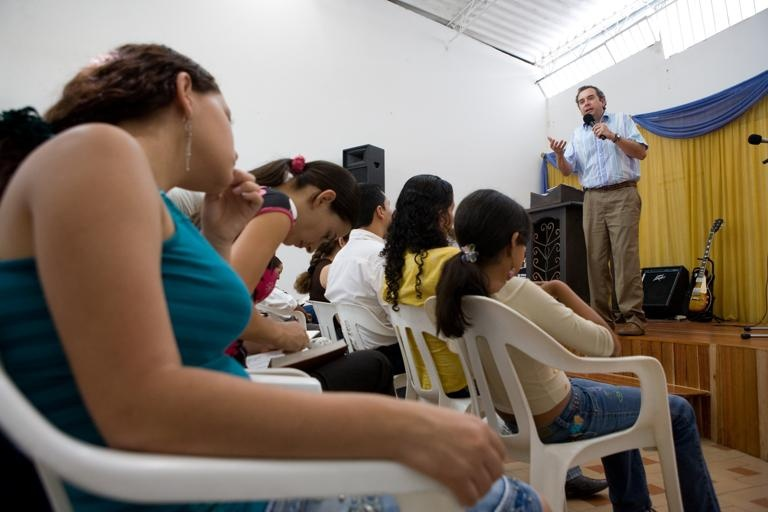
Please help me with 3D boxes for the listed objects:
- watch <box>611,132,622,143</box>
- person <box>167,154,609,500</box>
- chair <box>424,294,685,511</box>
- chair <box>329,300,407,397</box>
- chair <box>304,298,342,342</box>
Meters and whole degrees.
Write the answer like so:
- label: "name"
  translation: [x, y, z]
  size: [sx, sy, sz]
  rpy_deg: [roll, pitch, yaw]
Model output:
- label: "watch"
  translation: [1.712, -0.864, 3.833]
  size: [0.073, 0.087, 0.076]
  rpy_deg: [-7, 3, -8]
- label: "person"
  translation: [-0.037, -0.026, 1.875]
  size: [1.099, 1.340, 0.480]
  rpy_deg: [-10, -3, -44]
- label: "chair"
  translation: [0.518, 0.440, 1.882]
  size: [0.623, 0.948, 0.641]
  rpy_deg: [-5, -5, -24]
- label: "chair"
  translation: [-0.052, 0.410, 2.602]
  size: [0.364, 0.548, 0.363]
  rpy_deg: [-11, 2, -28]
- label: "chair"
  translation: [-0.294, 0.326, 2.805]
  size: [0.169, 0.272, 0.196]
  rpy_deg: [3, 17, 28]
